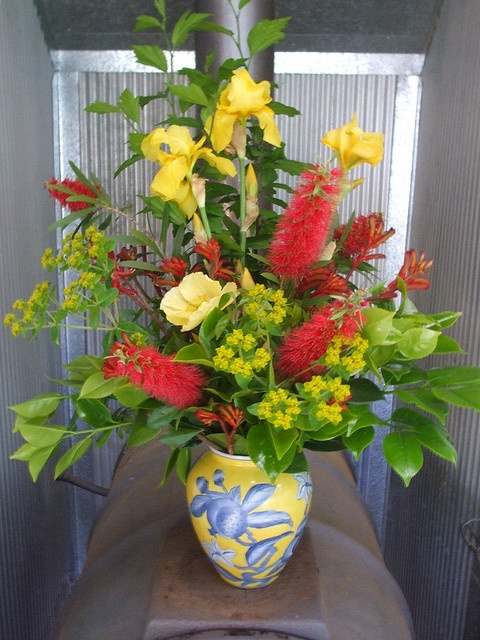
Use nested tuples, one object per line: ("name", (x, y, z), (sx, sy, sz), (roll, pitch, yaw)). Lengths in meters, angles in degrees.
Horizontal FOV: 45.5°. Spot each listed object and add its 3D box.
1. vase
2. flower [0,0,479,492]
("vase", (0.012, 0.248, 0.807), (0.211, 0.187, 0.198), (0, 95, -2))
("flower", (-0.161, 0.031, 1.267), (0.572, 1.425, 0.708), (-7, 75, -14))
